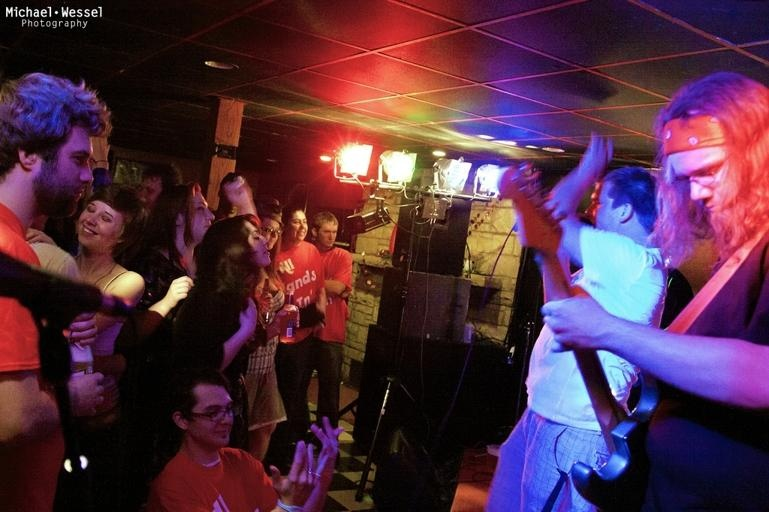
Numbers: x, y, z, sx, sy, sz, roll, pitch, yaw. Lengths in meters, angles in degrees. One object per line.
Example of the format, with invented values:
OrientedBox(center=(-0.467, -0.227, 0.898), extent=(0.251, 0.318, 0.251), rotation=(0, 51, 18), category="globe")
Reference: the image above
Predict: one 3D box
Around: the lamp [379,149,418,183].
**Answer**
OrientedBox(center=(0.228, -1.035, 6.050), extent=(0.374, 0.308, 0.336), rotation=(-4, 11, -32), category="lamp")

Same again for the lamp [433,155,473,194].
OrientedBox(center=(0.740, -0.913, 5.973), extent=(0.405, 0.463, 0.415), rotation=(4, 11, 38), category="lamp")
